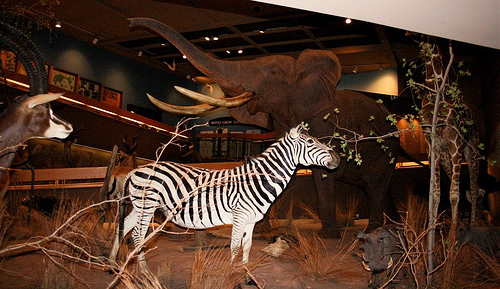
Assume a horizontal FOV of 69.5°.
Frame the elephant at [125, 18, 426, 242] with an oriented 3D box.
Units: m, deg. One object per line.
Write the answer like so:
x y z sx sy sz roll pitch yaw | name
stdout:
0.828 0.006 5.415 4.673 2.899 1.265 -1 -2 -23 | elephant

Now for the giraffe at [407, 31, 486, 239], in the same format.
2.685 -0.182 4.909 1.963 2.804 0.863 14 -10 -43 | giraffe
